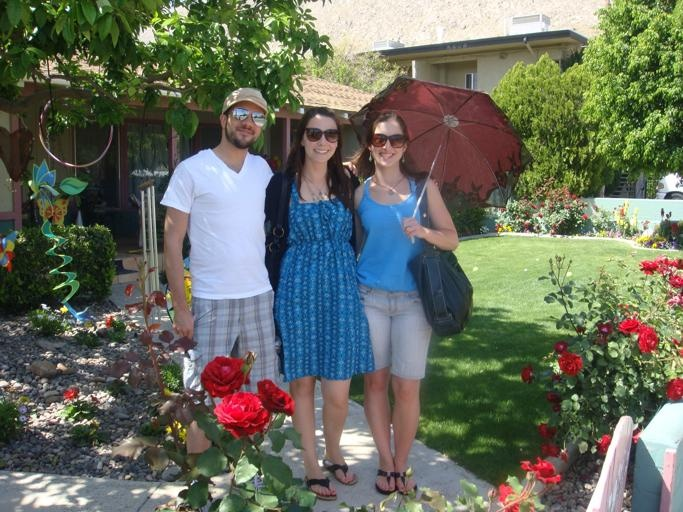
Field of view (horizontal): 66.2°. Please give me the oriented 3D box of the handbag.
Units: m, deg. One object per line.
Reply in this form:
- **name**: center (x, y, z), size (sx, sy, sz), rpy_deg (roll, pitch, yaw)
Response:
- **handbag**: center (0.646, 0.210, 3.420), size (0.424, 0.599, 0.282), rpy_deg (2, 7, -3)

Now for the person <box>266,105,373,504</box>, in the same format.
- **person**: center (-0.148, 0.290, 3.406), size (0.712, 2.496, 0.473), rpy_deg (1, 7, -8)

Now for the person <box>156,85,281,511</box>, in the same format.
- **person**: center (-0.704, -0.107, 3.163), size (0.693, 1.817, 0.334), rpy_deg (1, 7, -11)

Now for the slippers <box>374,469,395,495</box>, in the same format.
- **slippers**: center (0.294, 1.496, 3.576), size (0.112, 0.113, 0.326), rpy_deg (1, 0, -1)

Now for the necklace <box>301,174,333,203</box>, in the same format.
- **necklace**: center (-0.182, -0.426, 3.399), size (0.155, 0.173, 0.039), rpy_deg (-3, -10, -10)
